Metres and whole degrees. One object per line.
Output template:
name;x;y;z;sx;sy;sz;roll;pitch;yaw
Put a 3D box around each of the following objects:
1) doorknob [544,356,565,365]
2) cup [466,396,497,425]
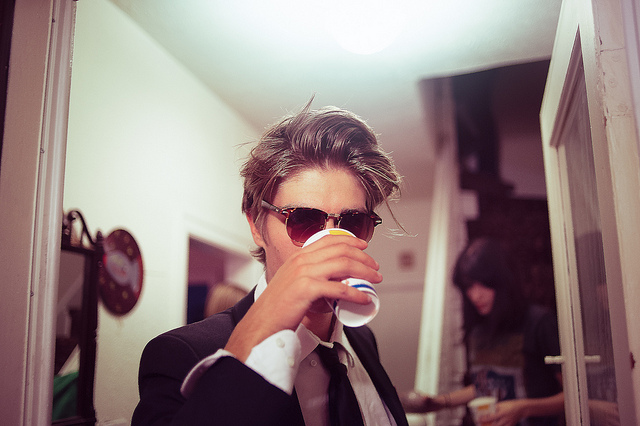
doorknob;0.995;0.625;2.100;0.130;0.028;0.065;9;-14;-31
cup;0.864;1.042;2.640;0.147;0.126;0.147;-3;-39;-3
